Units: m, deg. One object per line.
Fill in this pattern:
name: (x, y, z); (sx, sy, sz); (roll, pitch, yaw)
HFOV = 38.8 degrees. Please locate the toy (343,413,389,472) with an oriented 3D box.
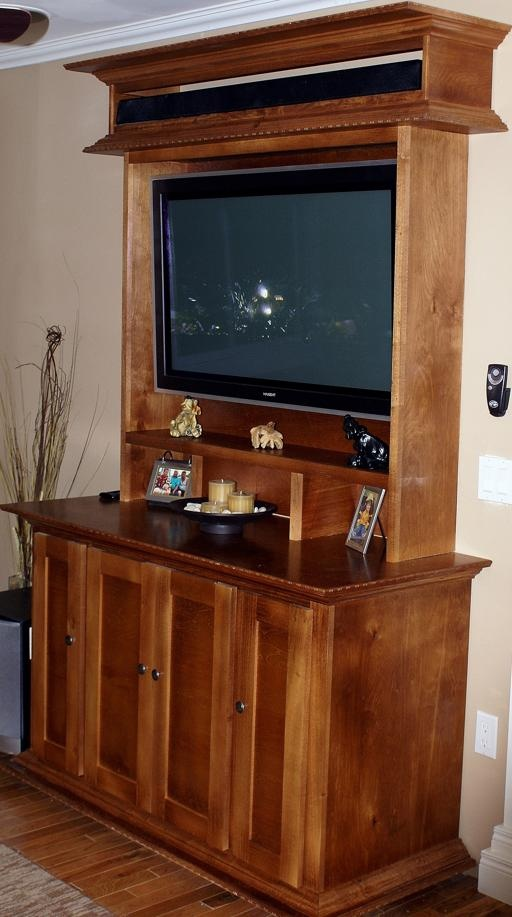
toy: (0.254, -0.035, 1.806); (0.109, 0.151, 0.119); (2, -5, -11)

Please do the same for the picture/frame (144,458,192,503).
picture/frame: (-0.290, 0.076, 2.439); (0.123, 0.120, 0.017); (5, -18, 36)

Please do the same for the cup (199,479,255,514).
cup: (-0.082, 0.106, 2.074); (0.131, 0.112, 0.077); (2, 3, 37)

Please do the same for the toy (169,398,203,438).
toy: (-0.226, -0.115, 2.352); (0.119, 0.165, 0.113); (3, -1, -22)

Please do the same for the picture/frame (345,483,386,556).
picture/frame: (0.281, 0.156, 1.848); (0.011, 0.187, 0.127); (15, 10, -14)

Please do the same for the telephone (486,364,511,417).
telephone: (0.555, -0.156, 1.681); (0.052, 0.126, 0.048); (-5, 4, 24)
